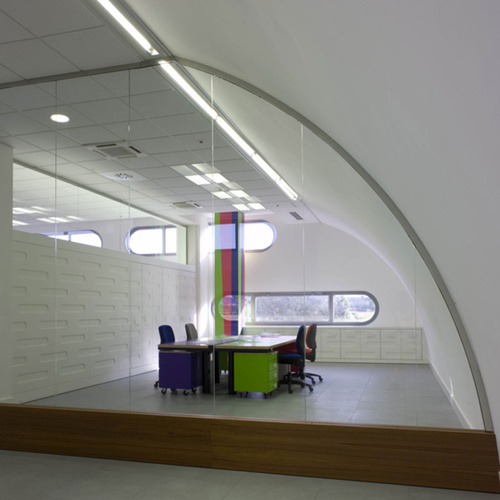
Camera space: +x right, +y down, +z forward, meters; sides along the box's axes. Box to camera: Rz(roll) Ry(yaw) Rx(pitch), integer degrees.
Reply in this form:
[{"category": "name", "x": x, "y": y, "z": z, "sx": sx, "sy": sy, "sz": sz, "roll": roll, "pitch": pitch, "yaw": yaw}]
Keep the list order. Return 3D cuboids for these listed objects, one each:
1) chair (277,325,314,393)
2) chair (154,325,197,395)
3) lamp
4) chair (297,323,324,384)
[{"category": "chair", "x": 0.379, "y": 0.945, "z": 4.017, "sx": 0.416, "sy": 0.589, "sz": 0.422, "roll": -9, "pitch": -11, "yaw": 36}, {"category": "chair", "x": -0.643, "y": 0.999, "z": 4.156, "sx": 0.351, "sy": 0.639, "sz": 0.385, "roll": -4, "pitch": -6, "yaw": 24}, {"category": "lamp", "x": -0.515, "y": -1.157, "z": 4.138, "sx": 1.656, "sy": 1.431, "sz": 0.882, "roll": 3, "pitch": -7, "yaw": -29}, {"category": "chair", "x": 0.463, "y": 0.876, "z": 3.816, "sx": 0.279, "sy": 0.505, "sz": 0.311, "roll": 1, "pitch": -6, "yaw": -7}]
